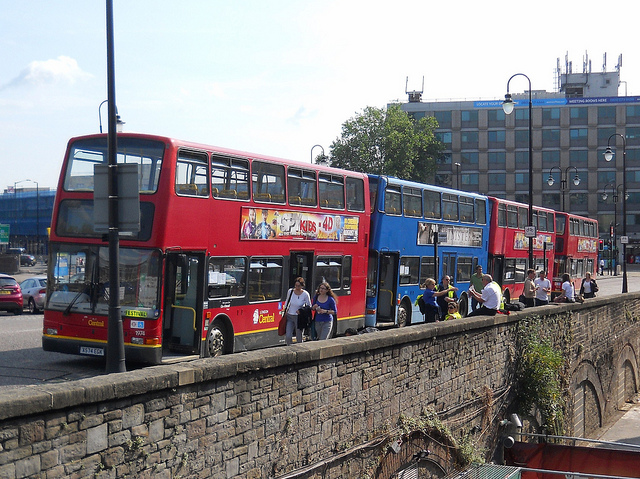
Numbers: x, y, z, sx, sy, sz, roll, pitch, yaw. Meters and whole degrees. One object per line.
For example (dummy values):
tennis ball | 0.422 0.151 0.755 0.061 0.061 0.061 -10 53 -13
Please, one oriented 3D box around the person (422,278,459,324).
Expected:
person | 3.421 2.044 18.800 0.648 1.949 0.906 -13 13 -21

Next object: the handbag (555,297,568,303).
handbag | 8.621 2.156 23.122 0.220 0.186 0.345 -2 -2 -4

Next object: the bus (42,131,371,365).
bus | -1.905 0.238 17.727 2.810 5.229 10.092 5 2 32

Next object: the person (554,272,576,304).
person | 8.763 1.783 23.216 0.694 1.140 0.804 0 -8 29

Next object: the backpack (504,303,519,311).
backpack | 5.773 2.020 19.579 0.234 0.148 0.361 2 7 4

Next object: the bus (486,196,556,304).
bus | 10.046 0.695 32.595 7.259 5.018 2.334 2 5 -44

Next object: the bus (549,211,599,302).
bus | 16.977 1.118 43.610 2.810 5.250 8.720 2 0 35

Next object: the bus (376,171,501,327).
bus | 4.213 0.449 24.815 8.134 4.913 2.322 3 0 -44

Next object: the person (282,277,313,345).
person | -0.537 1.838 15.418 0.613 1.897 0.482 6 19 5

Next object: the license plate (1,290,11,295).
license plate | -12.929 2.164 26.639 0.355 0.178 0.067 2 -3 -22

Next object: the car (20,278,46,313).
car | -12.252 2.393 27.638 1.191 1.243 2.699 0 4 -29
